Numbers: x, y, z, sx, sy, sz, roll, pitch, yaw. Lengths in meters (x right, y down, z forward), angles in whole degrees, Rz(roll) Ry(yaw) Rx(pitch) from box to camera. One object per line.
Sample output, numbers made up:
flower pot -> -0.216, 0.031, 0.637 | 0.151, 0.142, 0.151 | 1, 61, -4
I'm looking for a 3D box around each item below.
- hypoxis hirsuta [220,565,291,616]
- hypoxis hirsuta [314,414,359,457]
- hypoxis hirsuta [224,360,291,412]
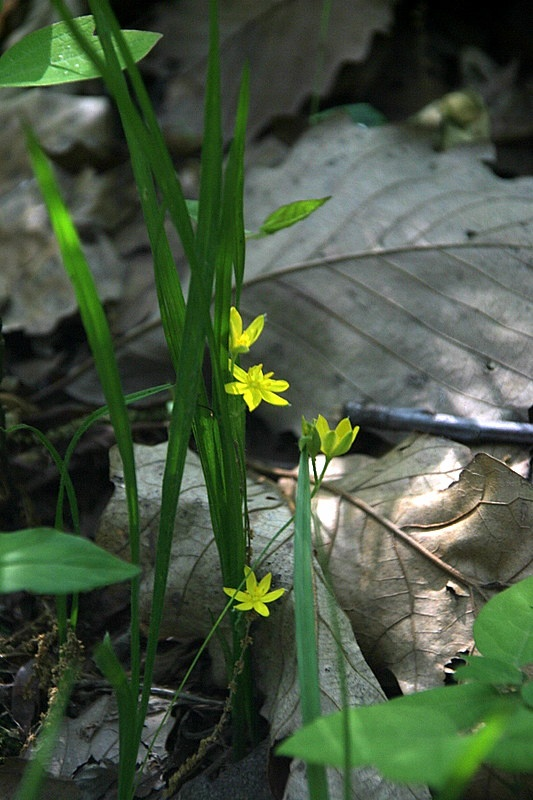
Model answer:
hypoxis hirsuta -> -0.013, 0.304, 1.289 | 0.086, 0.030, 0.067 | 7, 27, -5
hypoxis hirsuta -> 0.100, 0.052, 1.309 | 0.081, 0.069, 0.074 | 10, 3, 23
hypoxis hirsuta -> -0.021, -0.022, 1.257 | 0.113, 0.068, 0.085 | -4, 20, -18
